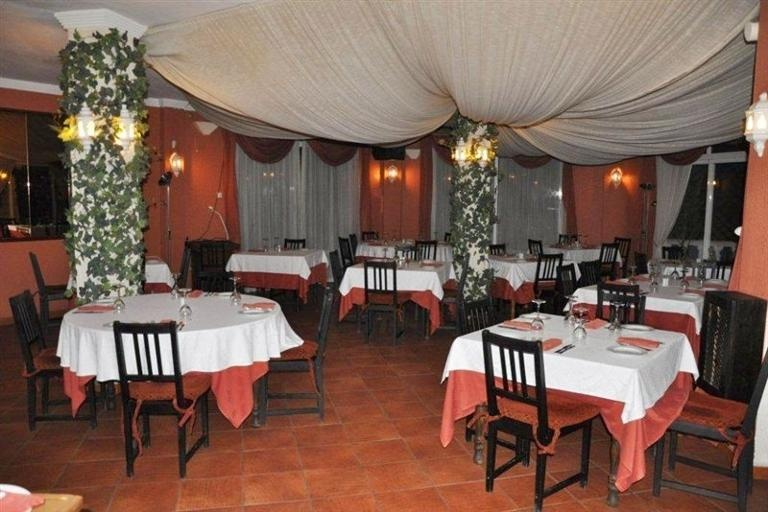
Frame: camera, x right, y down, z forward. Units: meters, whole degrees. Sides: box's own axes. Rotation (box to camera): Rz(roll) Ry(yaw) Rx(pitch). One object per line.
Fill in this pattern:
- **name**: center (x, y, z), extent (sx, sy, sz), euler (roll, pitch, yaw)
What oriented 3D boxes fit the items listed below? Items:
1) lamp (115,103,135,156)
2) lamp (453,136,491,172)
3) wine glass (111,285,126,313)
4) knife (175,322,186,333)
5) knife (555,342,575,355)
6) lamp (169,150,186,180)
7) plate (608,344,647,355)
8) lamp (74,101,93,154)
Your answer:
- **lamp**: center (-3.091, -1.484, 6.496), extent (0.213, 0.622, 0.101), euler (-4, 7, -27)
- **lamp**: center (1.485, -1.744, 9.042), extent (0.534, 0.545, 0.287), euler (0, 34, 6)
- **wine glass**: center (-2.967, 0.480, 6.063), extent (0.147, 0.308, 0.145), euler (-20, 33, -41)
- **knife**: center (-1.979, 0.699, 5.306), extent (0.084, 0.032, 0.106), euler (10, 9, -4)
- **knife**: center (1.657, 0.818, 4.953), extent (0.074, 0.006, 0.293), euler (7, 15, 32)
- **lamp**: center (-4.286, -1.917, 11.233), extent (0.225, 0.546, 0.389), euler (-1, 6, 2)
- **plate**: center (2.203, 0.844, 4.921), extent (0.319, 0.038, 0.244), euler (1, 5, 21)
- **lamp**: center (-3.461, -1.502, 6.333), extent (0.208, 0.558, 0.084), euler (0, 6, 7)
